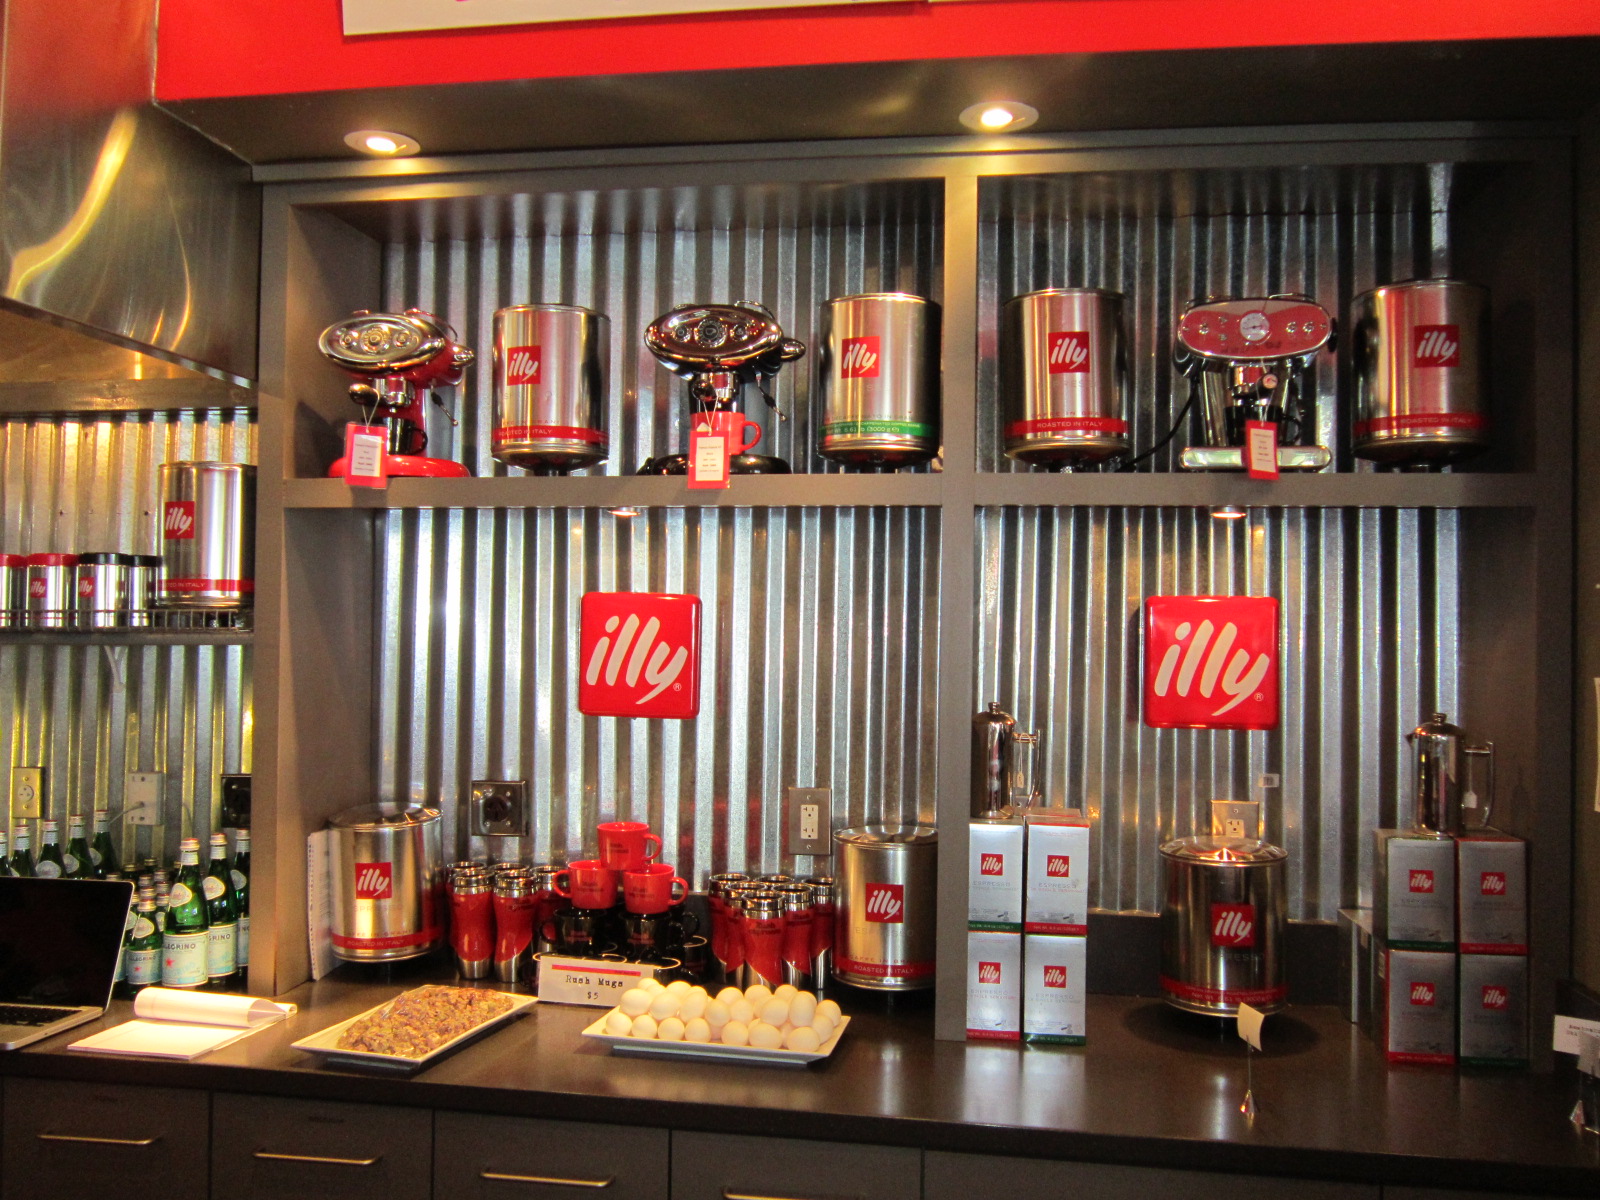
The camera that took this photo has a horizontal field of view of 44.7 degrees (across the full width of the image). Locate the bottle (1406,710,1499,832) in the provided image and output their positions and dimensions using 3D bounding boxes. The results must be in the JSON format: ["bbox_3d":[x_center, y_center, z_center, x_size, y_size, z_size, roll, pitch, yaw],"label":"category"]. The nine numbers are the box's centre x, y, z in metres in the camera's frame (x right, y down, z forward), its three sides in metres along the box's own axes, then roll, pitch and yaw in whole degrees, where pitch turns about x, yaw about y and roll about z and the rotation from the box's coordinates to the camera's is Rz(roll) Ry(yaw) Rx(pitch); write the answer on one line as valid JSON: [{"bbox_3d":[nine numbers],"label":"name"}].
[{"bbox_3d":[1.442,0.353,4.305,0.162,0.282,0.136,6,3,27],"label":"bottle"}]

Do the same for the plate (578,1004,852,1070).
[{"bbox_3d":[-0.185,0.965,4.295,0.576,0.090,0.217,-1,-2,3],"label":"plate"}]

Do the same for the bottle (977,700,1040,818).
[{"bbox_3d":[0.489,0.362,4.555,0.136,0.253,0.330,-1,-2,8],"label":"bottle"}]

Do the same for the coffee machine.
[{"bbox_3d":[1.042,-0.486,4.483,0.340,0.412,0.453,-1,-2,10],"label":"coffee machine"}]

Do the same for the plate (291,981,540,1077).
[{"bbox_3d":[-0.824,0.913,4.282,0.458,0.125,0.473,1,3,0],"label":"plate"}]

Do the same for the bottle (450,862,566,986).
[{"bbox_3d":[-0.700,0.764,4.708,0.201,0.311,0.180,4,4,33],"label":"bottle"}]

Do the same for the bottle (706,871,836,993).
[{"bbox_3d":[-0.067,0.756,4.622,0.248,0.286,0.230,5,4,27],"label":"bottle"}]
